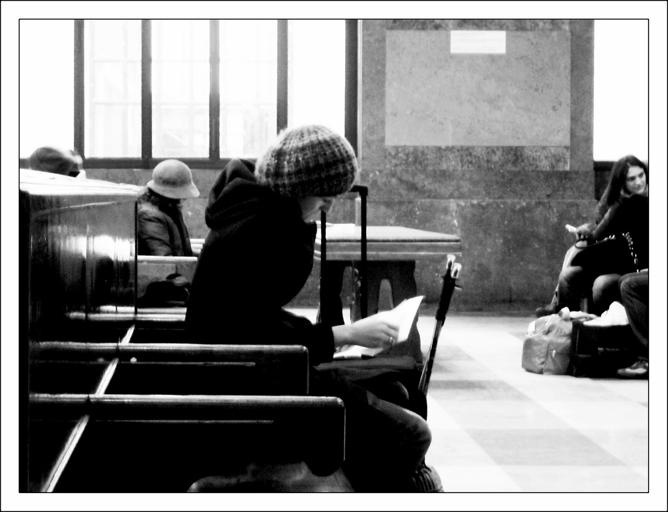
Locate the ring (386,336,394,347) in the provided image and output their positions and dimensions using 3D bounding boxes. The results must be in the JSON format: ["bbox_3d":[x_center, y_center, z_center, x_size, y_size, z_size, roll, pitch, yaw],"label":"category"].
[{"bbox_3d":[0.215,0.323,3.754,0.028,0.029,0.027,0,3,0],"label":"ring"}]

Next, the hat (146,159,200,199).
[{"bbox_3d":[-1.016,-0.479,6.272,0.288,0.165,0.250,13,21,17],"label":"hat"}]

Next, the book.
[{"bbox_3d":[0.184,0.285,3.811,0.093,0.363,0.246,28,-11,-14],"label":"book"}]

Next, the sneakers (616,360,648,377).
[{"bbox_3d":[1.919,0.710,6.310,0.213,0.164,0.083,0,-10,11],"label":"sneakers"}]
